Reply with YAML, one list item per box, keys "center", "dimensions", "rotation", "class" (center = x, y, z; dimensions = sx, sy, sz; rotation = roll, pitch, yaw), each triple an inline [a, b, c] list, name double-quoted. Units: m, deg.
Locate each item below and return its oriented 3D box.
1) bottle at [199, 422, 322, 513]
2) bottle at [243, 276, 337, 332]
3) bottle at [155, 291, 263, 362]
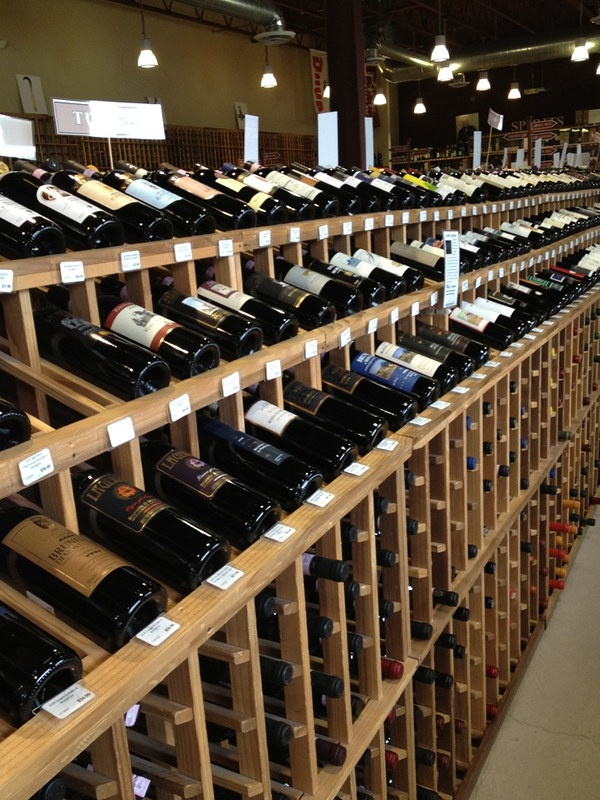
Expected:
- center: [-0.093, 0.128, 1.337]
  dimensions: [0.090, 0.088, 0.389]
  rotation: [-32, 39, -30]
  class: "bottle"
- center: [-0.040, -0.258, 1.667]
  dimensions: [0.079, 0.079, 0.347]
  rotation: [-18, 32, -25]
  class: "bottle"
- center: [-0.188, -0.146, 1.293]
  dimensions: [0.073, 0.072, 0.310]
  rotation: [-22, 34, -38]
  class: "bottle"
